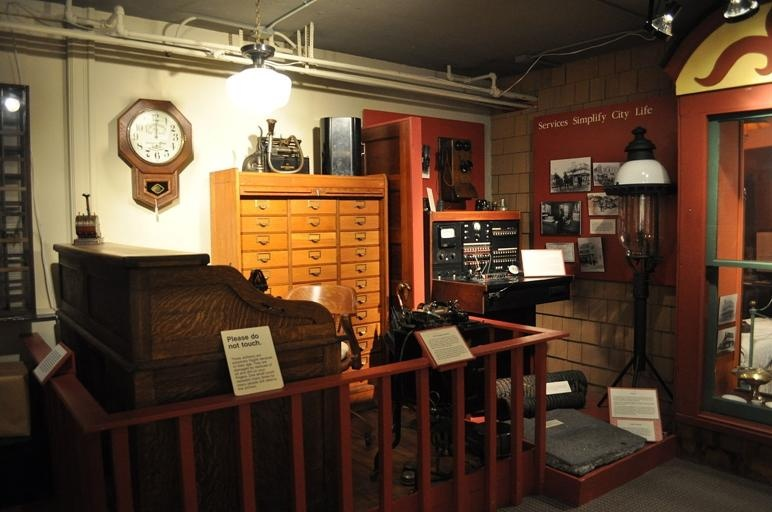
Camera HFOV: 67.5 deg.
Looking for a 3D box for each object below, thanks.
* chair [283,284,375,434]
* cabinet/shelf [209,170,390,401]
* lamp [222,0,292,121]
[{"bbox_3d":[-0.725,0.937,5.421,0.899,1.313,0.832,-3,7,-27],"label":"chair"},{"bbox_3d":[-0.742,0.179,6.315,2.000,0.934,2.628,-2,32,-1],"label":"cabinet/shelf"},{"bbox_3d":[-1.219,-1.885,5.491,0.551,1.028,0.983,-2,13,-15],"label":"lamp"}]
